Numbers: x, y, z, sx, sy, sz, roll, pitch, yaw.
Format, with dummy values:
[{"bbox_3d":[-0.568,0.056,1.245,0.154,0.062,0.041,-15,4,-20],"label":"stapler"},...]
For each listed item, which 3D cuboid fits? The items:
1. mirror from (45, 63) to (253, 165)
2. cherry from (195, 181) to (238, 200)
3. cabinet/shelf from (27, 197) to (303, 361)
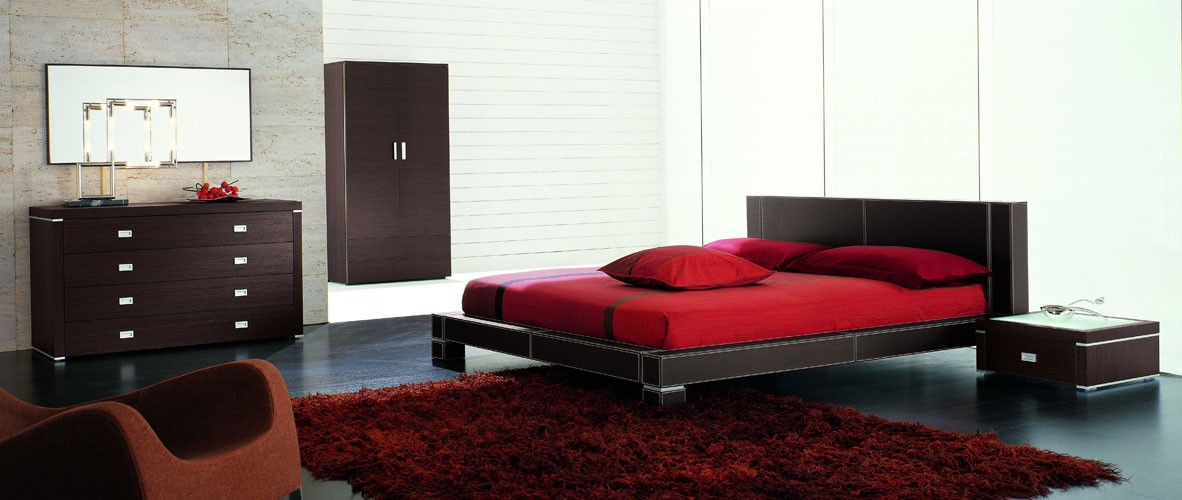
[{"bbox_3d":[-5.300,-1.608,8.544,2.069,0.709,0.031,-1,1,-20],"label":"mirror"},{"bbox_3d":[-4.440,-0.699,8.613,0.580,0.229,0.206,0,13,-3],"label":"cherry"},{"bbox_3d":[-4.919,0.341,8.189,2.878,1.097,0.865,-1,1,-25],"label":"cabinet/shelf"}]
